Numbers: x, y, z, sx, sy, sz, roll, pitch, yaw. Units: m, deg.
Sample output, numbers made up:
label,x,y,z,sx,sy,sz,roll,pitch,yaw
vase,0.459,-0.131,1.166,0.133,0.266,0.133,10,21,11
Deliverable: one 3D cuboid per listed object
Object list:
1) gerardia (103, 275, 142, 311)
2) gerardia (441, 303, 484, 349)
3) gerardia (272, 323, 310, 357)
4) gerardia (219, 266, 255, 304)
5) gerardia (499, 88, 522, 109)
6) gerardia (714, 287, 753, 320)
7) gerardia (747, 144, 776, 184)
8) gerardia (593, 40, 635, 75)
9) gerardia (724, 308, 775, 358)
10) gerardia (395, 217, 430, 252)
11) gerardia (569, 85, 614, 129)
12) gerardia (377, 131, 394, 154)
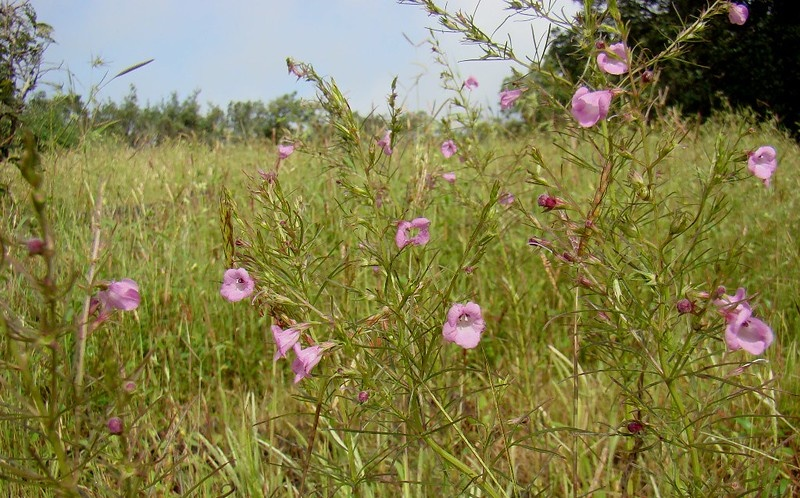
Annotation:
label,x,y,z,sx,sy,sz,roll,pitch,yaw
gerardia,-1.383,0.219,3.250,0.165,0.146,0.165,0,-1,-30
gerardia,0.328,0.402,3.507,0.218,0.248,0.272,0,-1,3
gerardia,-0.592,0.479,3.463,0.149,0.193,0.256,0,-1,-18
gerardia,-0.865,0.181,3.515,0.168,0.174,0.164,0,-1,-12
gerardia,0.628,-0.846,3.747,0.119,0.100,0.269,0,-1,11
gerardia,1.713,0.289,3.381,0.177,0.084,0.178,-23,4,-34
gerardia,1.950,-0.460,3.625,0.173,0.227,0.079,-1,-10,-6
gerardia,1.126,-1.032,3.518,0.166,0.220,0.274,0,-1,17
gerardia,1.758,0.406,3.352,0.221,0.229,0.151,0,-1,10
gerardia,0.062,-0.098,3.609,0.186,0.163,0.241,0,-1,-1
gerardia,0.970,-0.736,3.384,0.145,0.113,0.212,21,-20,-2
gerardia,-0.077,-0.615,3.749,0.101,0.154,0.052,3,-9,8
